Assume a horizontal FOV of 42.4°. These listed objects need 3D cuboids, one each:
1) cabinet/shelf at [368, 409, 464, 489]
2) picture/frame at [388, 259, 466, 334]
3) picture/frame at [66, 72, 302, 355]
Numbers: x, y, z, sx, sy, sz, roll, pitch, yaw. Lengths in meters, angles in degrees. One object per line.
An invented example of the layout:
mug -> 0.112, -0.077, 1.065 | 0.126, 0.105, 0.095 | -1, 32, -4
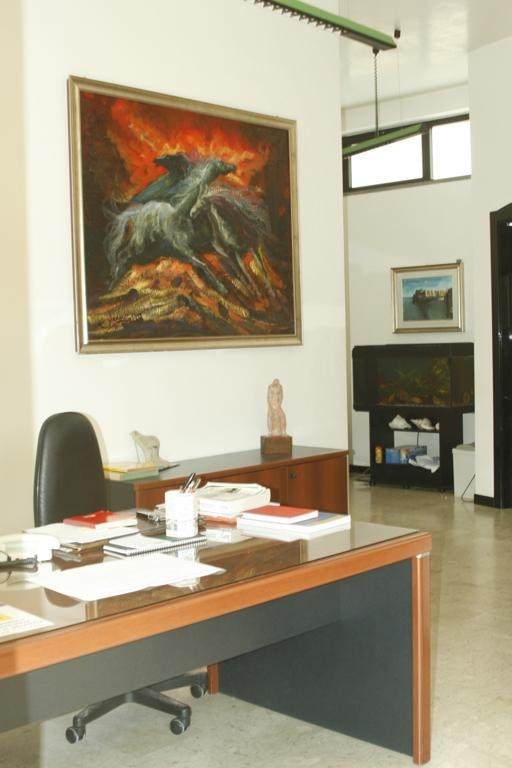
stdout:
cabinet/shelf -> 1.783, 0.717, 7.439 | 0.947, 0.980, 0.403 | 3, 2, 44
picture/frame -> 2.068, -1.032, 7.815 | 0.867, 0.879, 0.041 | 1, 3, 38
picture/frame -> -0.450, -0.963, 3.728 | 1.721, 1.513, 0.063 | -3, 1, -44
